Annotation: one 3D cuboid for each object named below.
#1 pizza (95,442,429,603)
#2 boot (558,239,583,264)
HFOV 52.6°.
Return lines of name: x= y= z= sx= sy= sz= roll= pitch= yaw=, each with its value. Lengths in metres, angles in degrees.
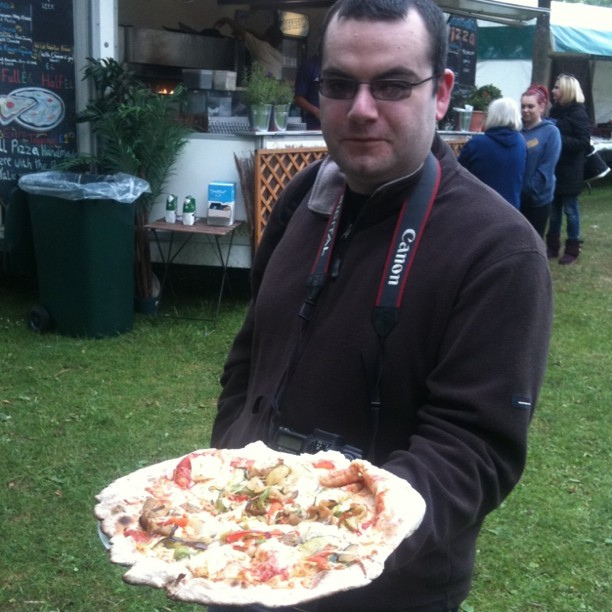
pizza: x=-0.091 y=0.338 z=1.031 sx=0.461 sy=0.088 sz=0.474 roll=-9 pitch=11 yaw=-27
boot: x=3.810 y=-0.795 z=8.964 sx=0.192 sy=0.326 sz=0.512 roll=6 pitch=15 yaw=44
